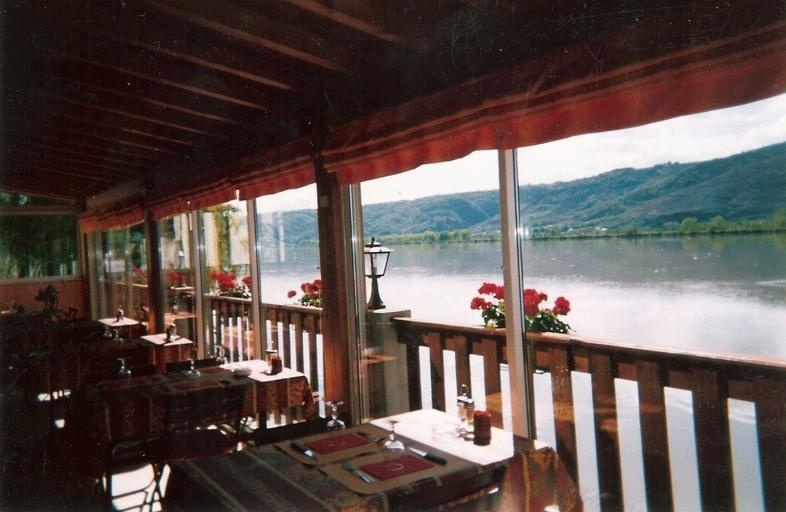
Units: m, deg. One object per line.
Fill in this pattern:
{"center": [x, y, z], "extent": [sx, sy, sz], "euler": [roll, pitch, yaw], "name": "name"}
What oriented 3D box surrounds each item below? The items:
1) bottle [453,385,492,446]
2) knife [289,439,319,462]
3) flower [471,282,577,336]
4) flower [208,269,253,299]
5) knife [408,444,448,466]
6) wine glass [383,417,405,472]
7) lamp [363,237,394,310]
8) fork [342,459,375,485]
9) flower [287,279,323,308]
{"center": [0.245, 0.582, 2.069], "extent": [0.100, 0.168, 0.172], "euler": [1, -7, -10], "name": "bottle"}
{"center": [-0.306, 0.645, 1.922], "extent": [0.034, 0.032, 0.166], "euler": [1, 2, -36], "name": "knife"}
{"center": [0.492, 0.197, 2.163], "extent": [0.252, 0.143, 0.232], "euler": [7, 4, 44], "name": "flower"}
{"center": [-0.603, 0.094, 2.120], "extent": [0.108, 0.068, 0.108], "euler": [7, 7, 33], "name": "flower"}
{"center": [0.104, 0.648, 1.915], "extent": [0.191, 0.022, 0.039], "euler": [6, 1, 45], "name": "knife"}
{"center": [0.011, 0.627, 1.974], "extent": [0.080, 0.105, 0.077], "euler": [0, 0, 40], "name": "wine glass"}
{"center": [-0.070, 0.075, 2.413], "extent": [0.065, 0.301, 0.180], "euler": [-4, -1, -37], "name": "lamp"}
{"center": [-0.114, 0.685, 1.819], "extent": [0.036, 0.032, 0.135], "euler": [-5, 11, -31], "name": "fork"}
{"center": [-0.347, 0.146, 2.302], "extent": [0.119, 0.078, 0.117], "euler": [-1, 0, -12], "name": "flower"}
